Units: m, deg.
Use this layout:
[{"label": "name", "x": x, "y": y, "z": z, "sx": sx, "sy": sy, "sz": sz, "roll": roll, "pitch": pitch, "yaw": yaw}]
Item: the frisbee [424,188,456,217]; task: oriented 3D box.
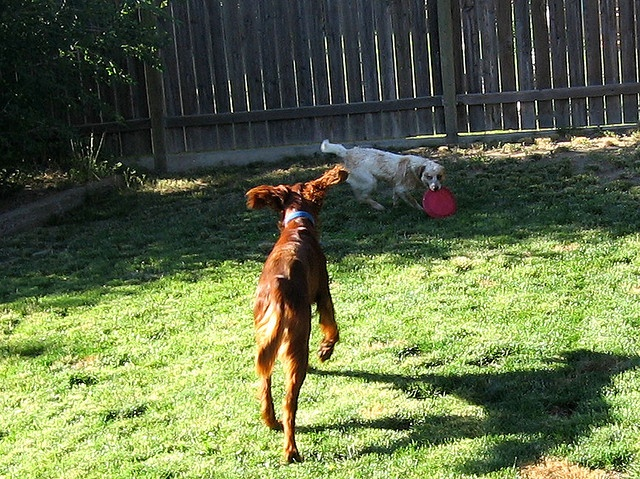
[{"label": "frisbee", "x": 1.522, "y": -0.476, "z": 8.550, "sx": 0.298, "sy": 0.348, "sz": 0.047, "roll": 5, "pitch": 10, "yaw": 13}]

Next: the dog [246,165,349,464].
[{"label": "dog", "x": -0.212, "y": 0.443, "z": 4.989, "sx": 0.607, "sy": 1.631, "sz": 2.199, "roll": -1, "pitch": 18, "yaw": 8}]
